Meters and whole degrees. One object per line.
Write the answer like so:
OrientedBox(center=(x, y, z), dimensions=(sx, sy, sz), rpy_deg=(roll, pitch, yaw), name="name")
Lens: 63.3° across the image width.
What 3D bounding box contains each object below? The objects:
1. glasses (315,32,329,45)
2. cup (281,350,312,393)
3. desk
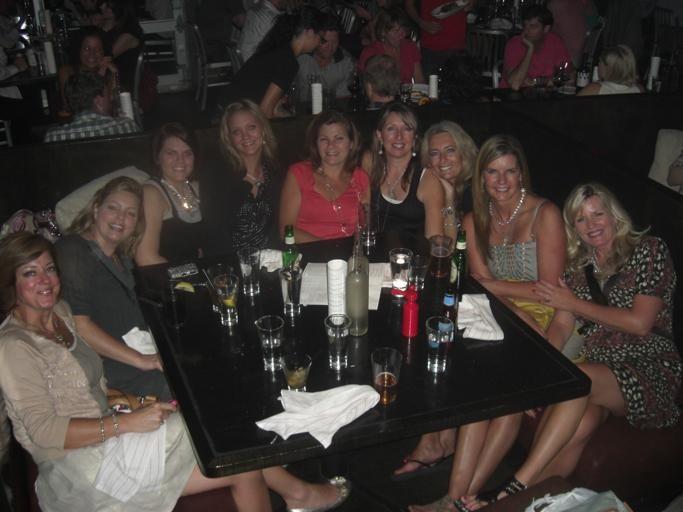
OrientedBox(center=(-0.192, -2.178, 5.507), dimensions=(0.097, 0.164, 0.146), rpy_deg=(6, 1, -1), name="glasses")
OrientedBox(center=(-0.191, 0.507, 2.465), dimensions=(0.139, 0.152, 0.144), rpy_deg=(1, 21, 0), name="cup")
OrientedBox(center=(-0.001, 0.452, 2.781), dimensions=(2.243, 0.520, 1.283), rpy_deg=(-1, 16, -3), name="desk")
